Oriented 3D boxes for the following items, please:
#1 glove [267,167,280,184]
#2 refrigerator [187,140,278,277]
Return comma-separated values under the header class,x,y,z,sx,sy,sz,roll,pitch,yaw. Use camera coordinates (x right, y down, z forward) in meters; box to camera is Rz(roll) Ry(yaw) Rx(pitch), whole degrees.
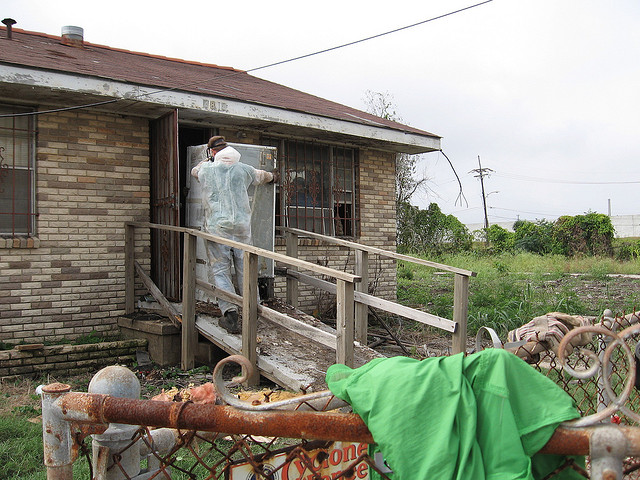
class,x,y,z,sx,sy,sz,roll,pitch,yaw
glove,-0.625,-0.860,7.030,0.146,0.231,0.367,-2,-4,-6
refrigerator,-1.067,-0.605,7.166,0.999,2.087,0.857,1,8,-38
